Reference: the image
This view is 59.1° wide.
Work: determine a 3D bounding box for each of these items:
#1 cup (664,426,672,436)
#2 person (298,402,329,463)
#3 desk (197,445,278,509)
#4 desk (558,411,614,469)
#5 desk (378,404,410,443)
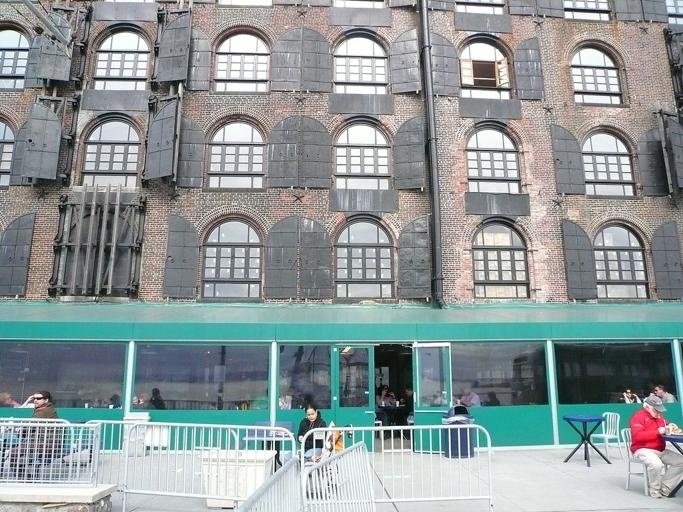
[{"bbox_3d":[7.650,4.076,14.133,0.240,0.182,0.228,1,-2,0],"label":"cup"},{"bbox_3d":[-0.833,4.713,15.321,0.671,1.588,0.592,6,-11,0],"label":"person"},{"bbox_3d":[-2.386,4.811,13.395,2.396,1.519,1.293,0,-18,0],"label":"desk"},{"bbox_3d":[6.802,5.091,16.836,1.328,1.125,1.263,-10,-19,28],"label":"desk"},{"bbox_3d":[1.915,6.018,21.830,1.082,1.199,3.637,-2,-11,6],"label":"desk"}]
